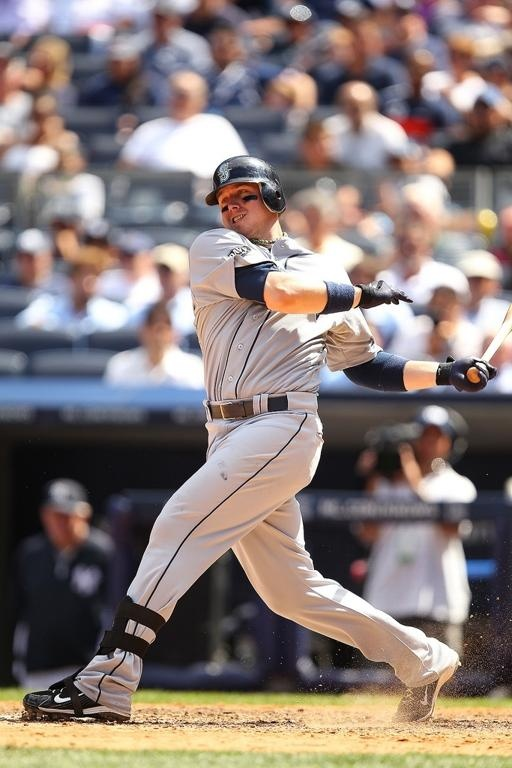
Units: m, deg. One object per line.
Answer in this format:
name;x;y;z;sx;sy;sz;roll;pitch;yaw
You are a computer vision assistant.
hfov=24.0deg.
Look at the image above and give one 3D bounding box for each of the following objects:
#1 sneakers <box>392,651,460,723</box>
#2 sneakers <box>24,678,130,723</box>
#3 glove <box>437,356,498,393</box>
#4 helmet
sneakers;0.515;0.943;3.626;0.142;0.277;0.102;26;11;-5
sneakers;-0.487;0.840;3.282;0.334;0.113;0.116;6;85;1
glove;0.609;-0.028;3.569;0.078;0.082;0.166;-39;31;-30
helmet;-0.011;-0.566;3.545;0.233;0.166;0.139;0;79;-25
